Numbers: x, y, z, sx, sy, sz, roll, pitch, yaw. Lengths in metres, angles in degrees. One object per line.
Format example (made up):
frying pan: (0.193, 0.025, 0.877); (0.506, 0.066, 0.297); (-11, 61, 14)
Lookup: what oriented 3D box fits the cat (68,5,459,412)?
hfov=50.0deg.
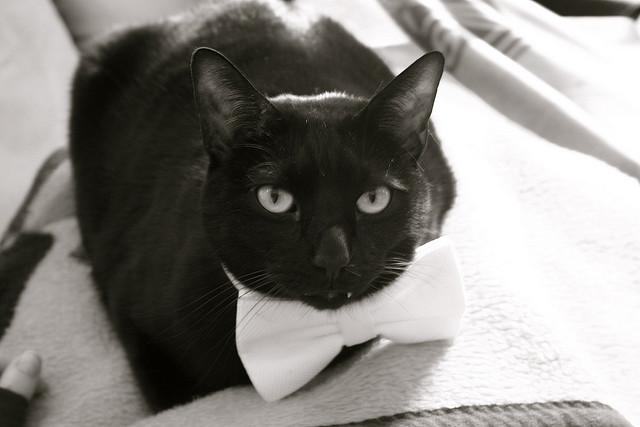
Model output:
cat: (-0.155, -0.122, 1.540); (0.892, 0.404, 0.772); (-31, 62, -16)

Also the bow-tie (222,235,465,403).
bow-tie: (0.076, 0.260, 1.553); (0.512, 0.291, 0.168); (-11, 96, -11)
